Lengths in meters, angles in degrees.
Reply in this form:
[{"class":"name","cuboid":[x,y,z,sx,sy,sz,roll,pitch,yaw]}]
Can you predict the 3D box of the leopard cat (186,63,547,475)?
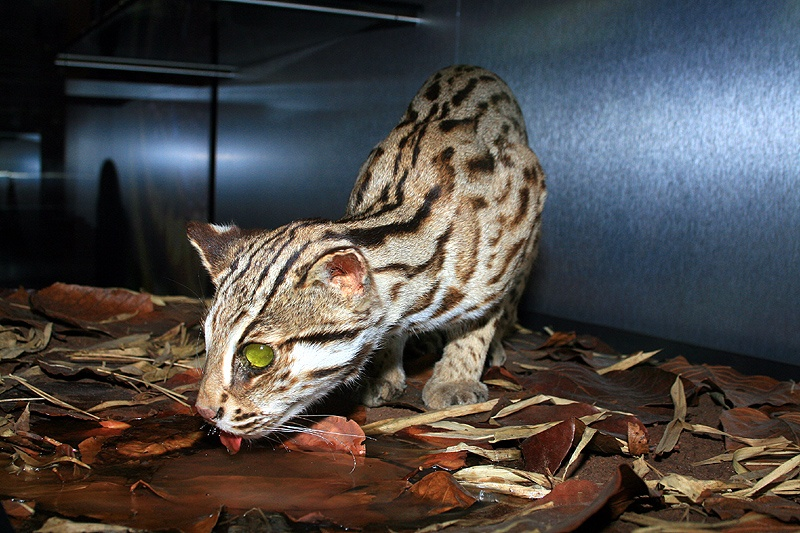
[{"class":"leopard cat","cuboid":[-0.070,-0.035,2.390,1.166,1.244,1.175,0,17,-2]}]
